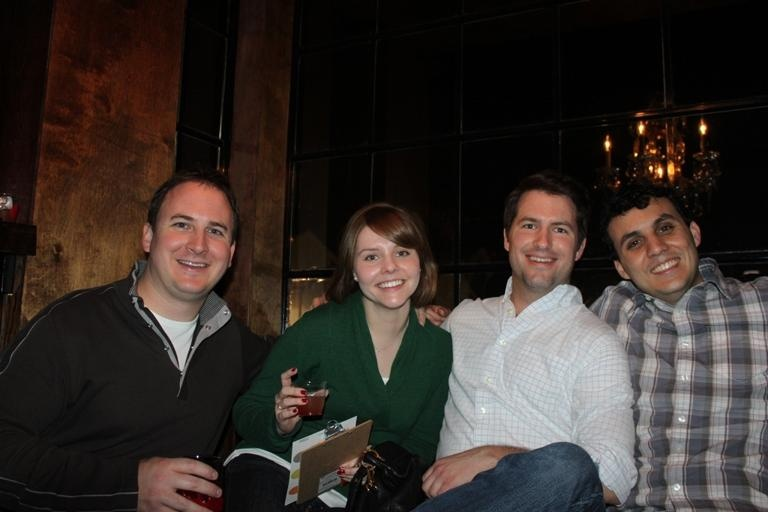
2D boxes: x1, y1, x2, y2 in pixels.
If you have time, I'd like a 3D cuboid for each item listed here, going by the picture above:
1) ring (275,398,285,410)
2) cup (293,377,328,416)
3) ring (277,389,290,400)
[{"bbox_3d":[-0.535,0.767,3.063,0.040,0.052,0.017,-18,-10,31],"label":"ring"},{"bbox_3d":[-0.377,0.750,3.156,0.211,0.185,0.185,0,-16,-1],"label":"cup"},{"bbox_3d":[-0.515,0.715,3.050,0.033,0.056,0.027,36,21,-24],"label":"ring"}]
